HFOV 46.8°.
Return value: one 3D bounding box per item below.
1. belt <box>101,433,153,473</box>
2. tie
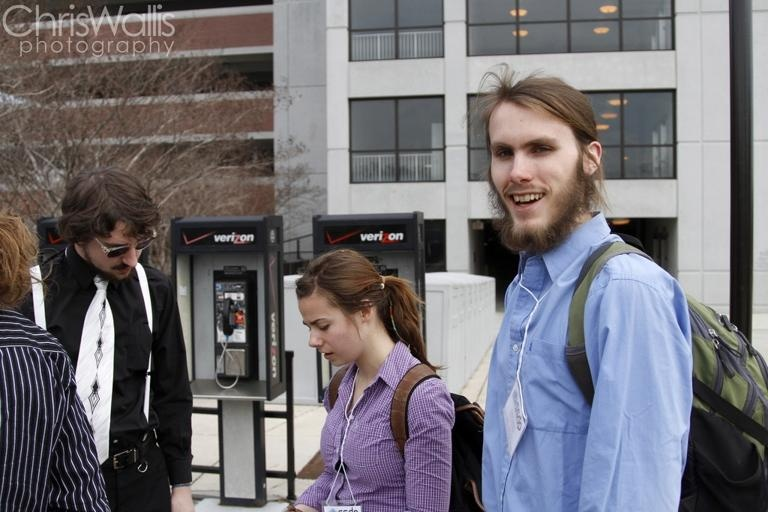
[{"bbox_3d":[-1.985,1.466,6.879,0.249,0.109,0.295,-14,8,8],"label":"belt"},{"bbox_3d":[-2.191,0.819,6.815,0.244,1.368,0.094,4,-6,12],"label":"tie"}]
